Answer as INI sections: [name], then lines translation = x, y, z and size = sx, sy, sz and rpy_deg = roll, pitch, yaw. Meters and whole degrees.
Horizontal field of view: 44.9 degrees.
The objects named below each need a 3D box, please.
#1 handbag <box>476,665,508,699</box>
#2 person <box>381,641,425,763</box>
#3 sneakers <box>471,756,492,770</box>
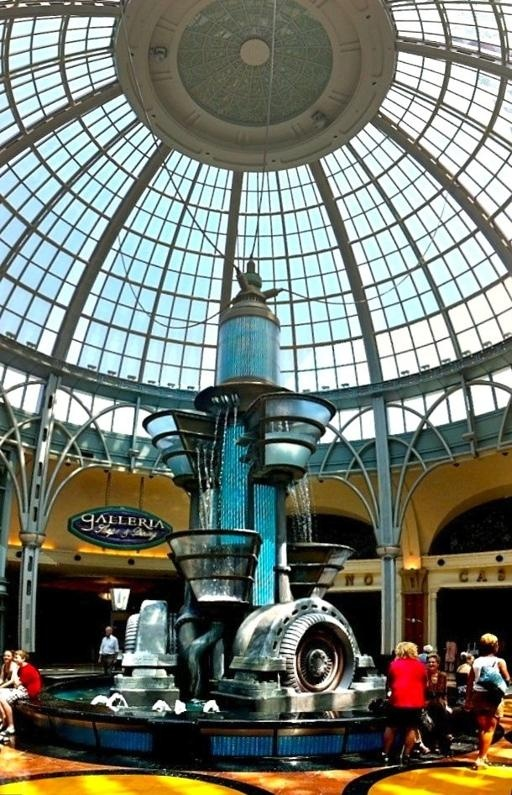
[handbag]
translation = 2.525, 3.057, 6.571
size = 0.118, 0.236, 0.340
rpy_deg = -32, -51, -7
[person]
translation = 1.644, 3.405, 6.881
size = 0.499, 1.259, 1.074
rpy_deg = -3, -14, 12
[sneakers]
translation = 2.256, 3.690, 6.234
size = 0.273, 0.095, 0.129
rpy_deg = 10, -17, -34
